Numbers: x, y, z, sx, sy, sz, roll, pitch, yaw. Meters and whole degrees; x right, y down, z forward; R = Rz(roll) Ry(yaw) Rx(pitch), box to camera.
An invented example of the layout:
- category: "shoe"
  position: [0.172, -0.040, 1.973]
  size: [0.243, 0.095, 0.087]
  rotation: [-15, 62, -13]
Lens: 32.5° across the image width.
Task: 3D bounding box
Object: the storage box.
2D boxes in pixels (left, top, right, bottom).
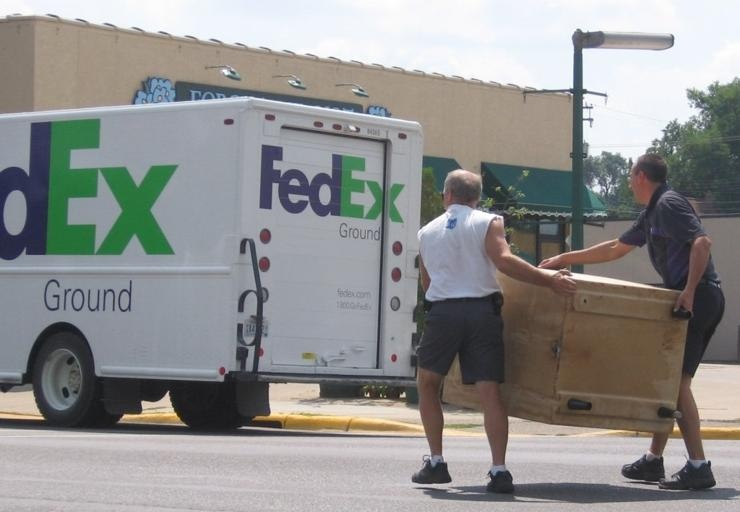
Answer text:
- category: "storage box"
  position: [1.955, 0.735, 12.767]
  size: [1.786, 1.100, 1.705]
  rotation: [10, -1, -27]

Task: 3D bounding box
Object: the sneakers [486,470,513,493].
- category: "sneakers"
  position: [1.223, 2.125, 12.053]
  size: [0.260, 0.221, 0.165]
  rotation: [2, 3, 14]

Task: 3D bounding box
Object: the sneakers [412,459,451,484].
- category: "sneakers"
  position: [0.577, 2.073, 12.236]
  size: [0.371, 0.215, 0.192]
  rotation: [-4, -7, 39]
